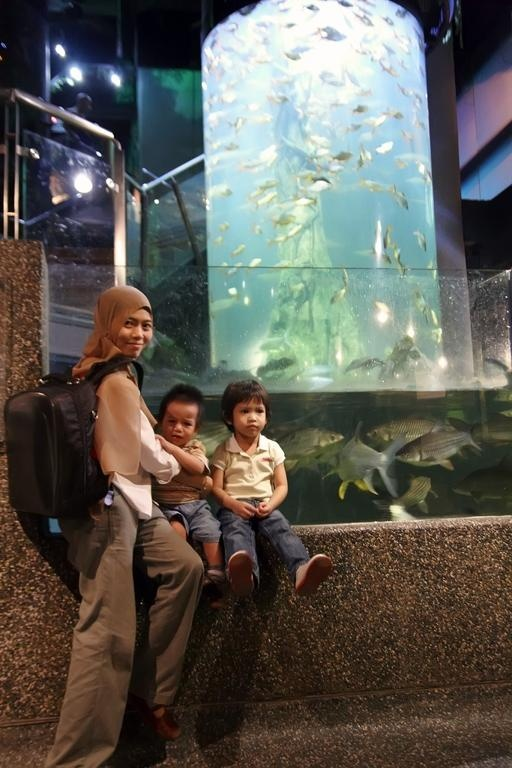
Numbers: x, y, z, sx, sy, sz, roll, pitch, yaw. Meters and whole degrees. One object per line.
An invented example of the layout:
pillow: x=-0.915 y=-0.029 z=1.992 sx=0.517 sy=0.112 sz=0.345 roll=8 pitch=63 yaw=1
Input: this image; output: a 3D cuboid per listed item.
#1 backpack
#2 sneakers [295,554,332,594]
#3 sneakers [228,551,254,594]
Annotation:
backpack: x=-0.414 y=0.127 z=1.316 sx=0.217 sy=0.343 sz=0.320 roll=6 pitch=10 yaw=35
sneakers: x=0.135 y=0.484 z=1.425 sx=0.067 sy=0.132 sz=0.053 roll=21 pitch=22 yaw=-26
sneakers: x=-0.039 y=0.481 z=1.381 sx=0.068 sy=0.123 sz=0.102 roll=1 pitch=-4 yaw=-1
